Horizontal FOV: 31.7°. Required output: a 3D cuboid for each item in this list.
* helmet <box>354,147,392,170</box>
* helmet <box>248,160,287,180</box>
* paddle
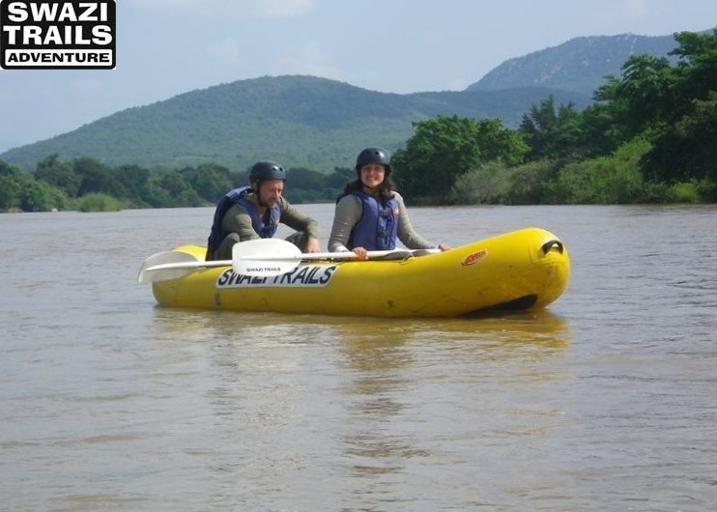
[{"bbox_3d":[0.200,-1.273,16.719,0.472,0.277,0.354,-6,9,-41],"label":"helmet"},{"bbox_3d":[-1.202,-1.106,16.478,0.406,0.135,0.259,-2,-1,15],"label":"helmet"},{"bbox_3d":[-0.812,0.117,16.461,3.420,0.506,0.545,2,-10,16],"label":"paddle"}]
